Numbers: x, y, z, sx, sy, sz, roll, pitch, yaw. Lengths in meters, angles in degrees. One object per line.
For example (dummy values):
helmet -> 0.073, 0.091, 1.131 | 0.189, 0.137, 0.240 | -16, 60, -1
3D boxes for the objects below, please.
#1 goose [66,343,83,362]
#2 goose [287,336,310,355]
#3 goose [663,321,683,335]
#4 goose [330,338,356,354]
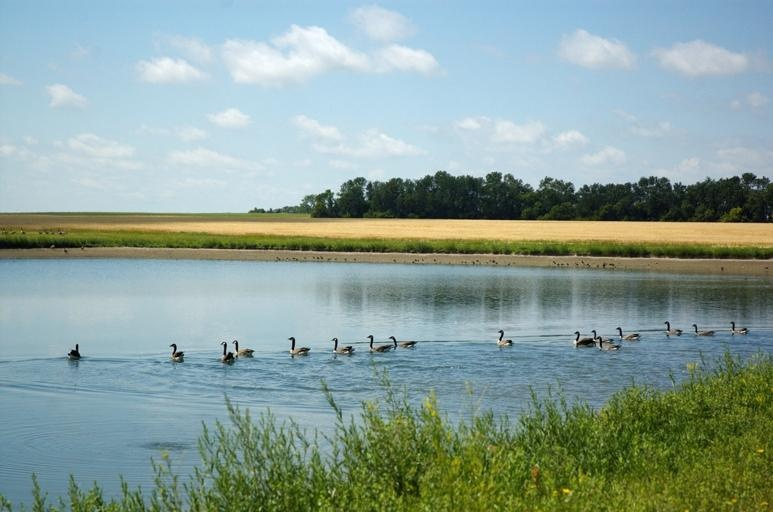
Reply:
goose -> -13.178, 4.059, 41.902 | 0.418, 0.451, 1.245 | 3, 6, -11
goose -> -3.854, 4.048, 43.370 | 1.320, 1.071, 0.469 | 0, -6, 6
goose -> 13.706, 3.299, 47.513 | 0.790, 0.709, 2.057 | -4, 8, 15
goose -> -1.946, 4.188, 43.904 | 1.275, 1.015, 0.443 | 0, -19, -1
